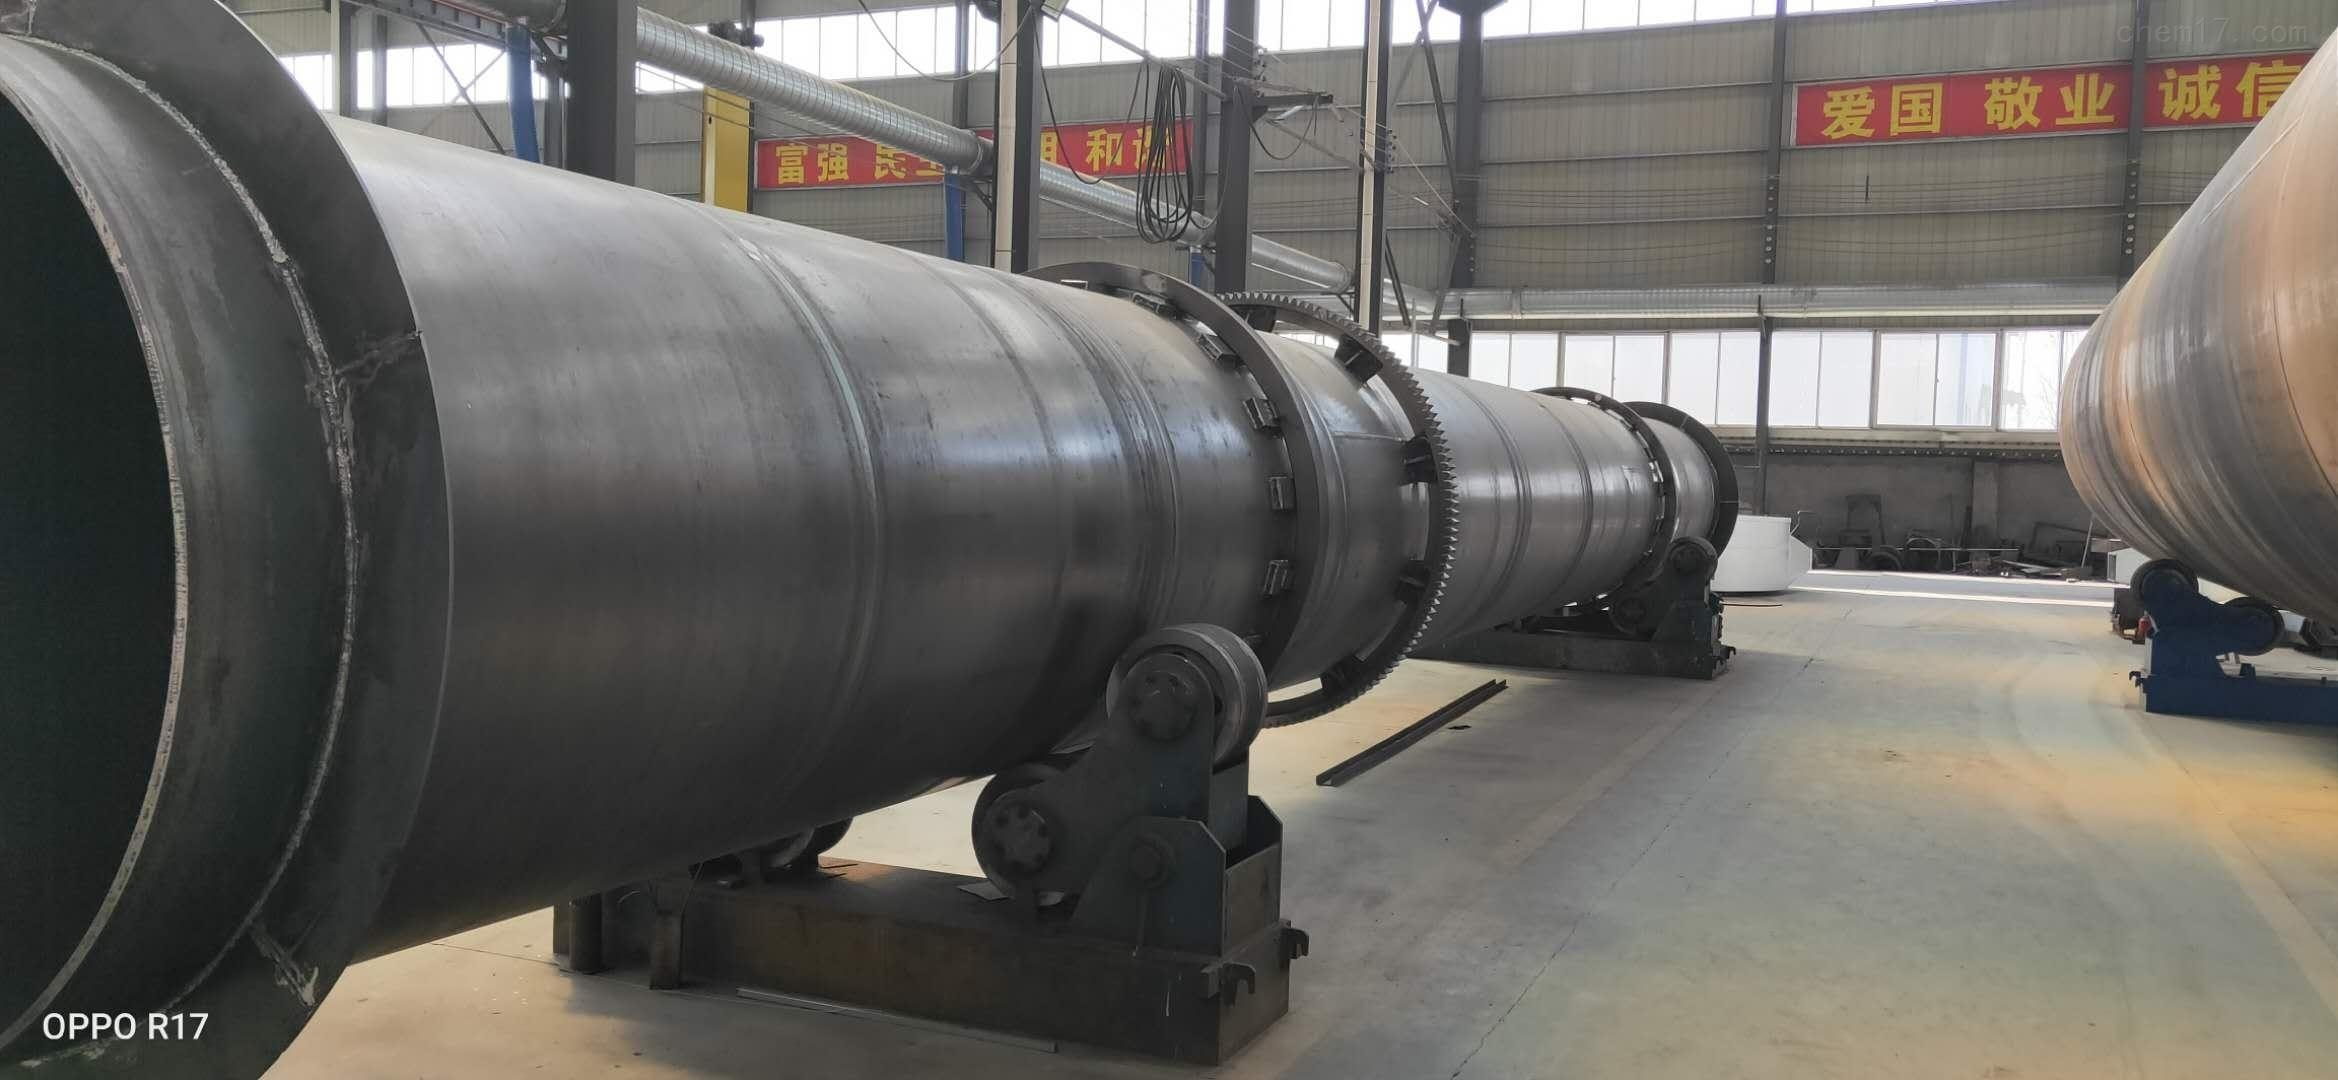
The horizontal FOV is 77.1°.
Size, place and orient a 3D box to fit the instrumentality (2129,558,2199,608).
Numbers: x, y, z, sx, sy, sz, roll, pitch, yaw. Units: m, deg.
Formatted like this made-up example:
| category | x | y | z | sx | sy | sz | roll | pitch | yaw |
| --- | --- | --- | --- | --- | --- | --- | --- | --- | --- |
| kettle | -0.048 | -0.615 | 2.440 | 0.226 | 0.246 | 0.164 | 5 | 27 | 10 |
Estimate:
| category | x | y | z | sx | sy | sz | roll | pitch | yaw |
| --- | --- | --- | --- | --- | --- | --- | --- | --- | --- |
| instrumentality | 5.835 | 0.265 | 8.615 | 0.347 | 0.288 | 0.264 | -17 | 5 | 35 |

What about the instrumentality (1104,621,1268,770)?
| category | x | y | z | sx | sy | sz | roll | pitch | yaw |
| --- | --- | --- | --- | --- | --- | --- | --- | --- | --- |
| instrumentality | 0.033 | 0.555 | 5.119 | 0.571 | 0.509 | 0.582 | 7 | 4 | 21 |

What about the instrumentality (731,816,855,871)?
| category | x | y | z | sx | sy | sz | roll | pitch | yaw |
| --- | --- | --- | --- | --- | --- | --- | --- | --- | --- |
| instrumentality | -1.335 | 1.027 | 5.212 | 0.339 | 0.290 | 0.104 | 1 | 2 | 11 |

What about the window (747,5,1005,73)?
| category | x | y | z | sx | sy | sz | roll | pitch | yaw |
| --- | --- | --- | --- | --- | --- | --- | --- | --- | --- |
| window | -4.151 | -7.257 | 21.307 | 5.651 | 1.172 | 0.219 | 2 | 18 | 8 |
